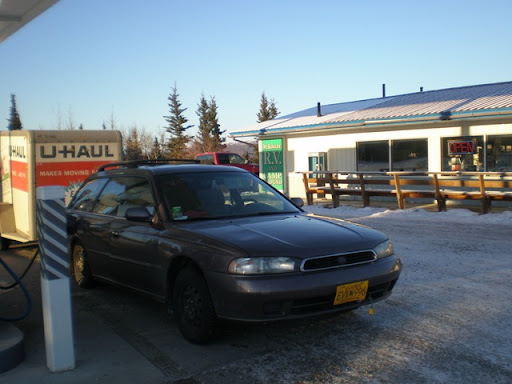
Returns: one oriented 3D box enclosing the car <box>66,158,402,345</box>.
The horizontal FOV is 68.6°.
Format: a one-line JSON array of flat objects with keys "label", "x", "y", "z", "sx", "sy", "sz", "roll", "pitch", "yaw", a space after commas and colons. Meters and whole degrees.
[{"label": "car", "x": -0.829, "y": 0.490, "z": 5.134, "sx": 4.462, "sy": 1.334, "sz": 2.053, "roll": 1, "pitch": 3, "yaw": 45}]
